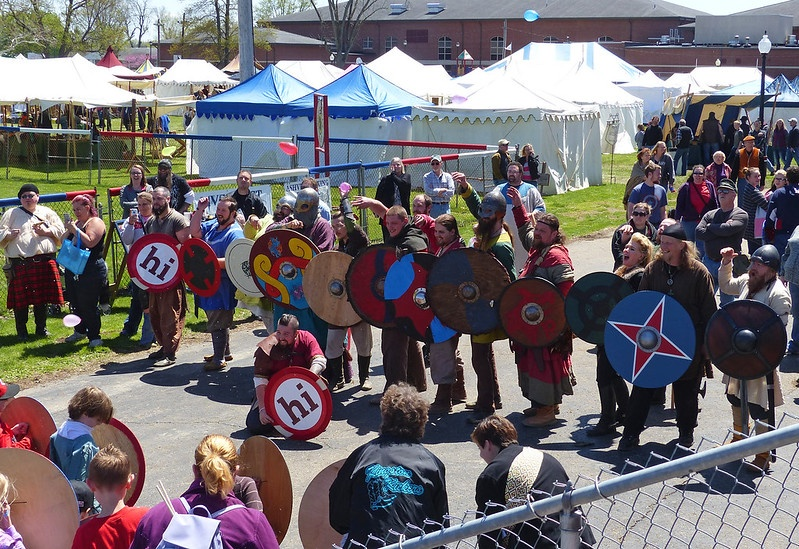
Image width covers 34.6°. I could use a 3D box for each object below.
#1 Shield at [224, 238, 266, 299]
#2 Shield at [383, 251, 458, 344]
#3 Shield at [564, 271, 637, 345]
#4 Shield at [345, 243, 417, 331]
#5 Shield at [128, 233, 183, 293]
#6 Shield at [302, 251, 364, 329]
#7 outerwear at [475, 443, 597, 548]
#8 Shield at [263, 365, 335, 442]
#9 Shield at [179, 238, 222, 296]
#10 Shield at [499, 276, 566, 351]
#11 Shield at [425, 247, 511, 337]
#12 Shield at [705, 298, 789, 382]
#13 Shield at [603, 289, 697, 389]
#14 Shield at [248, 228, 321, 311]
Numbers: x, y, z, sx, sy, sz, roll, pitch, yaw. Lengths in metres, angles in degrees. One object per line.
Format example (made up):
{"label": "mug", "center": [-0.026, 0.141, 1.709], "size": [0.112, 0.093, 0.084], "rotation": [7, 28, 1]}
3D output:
{"label": "Shield", "center": [-2.444, -0.087, 20.769], "size": [0.787, 0.880, 0.143], "rotation": [9, 5, 26]}
{"label": "Shield", "center": [0.368, 0.321, 19.429], "size": [0.961, 1.041, 0.202], "rotation": [23, 16, 12]}
{"label": "Shield", "center": [2.971, 0.533, 18.804], "size": [0.798, 0.879, 0.167], "rotation": [14, 8, -2]}
{"label": "Shield", "center": [-0.214, 0.200, 19.599], "size": [0.962, 1.052, 0.210], "rotation": [20, 8, 9]}
{"label": "Shield", "center": [-3.931, -0.170, 21.187], "size": [0.811, 0.911, 0.061], "rotation": [6, -1, 14]}
{"label": "Shield", "center": [-0.975, 0.221, 20.001], "size": [0.839, 0.908, 0.182], "rotation": [23, 10, 6]}
{"label": "outerwear", "center": [1.735, 2.930, 16.498], "size": [1.264, 1.363, 0.725], "rotation": [-5, -3, -6]}
{"label": "Shield", "center": [-1.506, 1.960, 19.209], "size": [0.892, 0.991, 0.061], "rotation": [10, 8, 8]}
{"label": "Shield", "center": [-3.189, -0.117, 21.025], "size": [0.726, 0.830, 0.070], "rotation": [15, 11, 33]}
{"label": "Shield", "center": [2.001, 0.567, 19.048], "size": [0.738, 0.766, 0.153], "rotation": [-37, 8, 9]}
{"label": "Shield", "center": [1.039, 0.311, 19.250], "size": [1.160, 1.296, 0.253], "rotation": [-2, 15, 1]}
{"label": "Shield", "center": [4.864, 0.921, 18.038], "size": [1.003, 1.129, 0.287], "rotation": [5, 1, 15]}
{"label": "Shield", "center": [3.668, 0.936, 18.507], "size": [0.969, 1.070, 0.213], "rotation": [-29, -5, 11]}
{"label": "Shield", "center": [-1.739, -0.074, 20.420], "size": [0.911, 0.976, 0.166], "rotation": [-27, -2, 8]}
